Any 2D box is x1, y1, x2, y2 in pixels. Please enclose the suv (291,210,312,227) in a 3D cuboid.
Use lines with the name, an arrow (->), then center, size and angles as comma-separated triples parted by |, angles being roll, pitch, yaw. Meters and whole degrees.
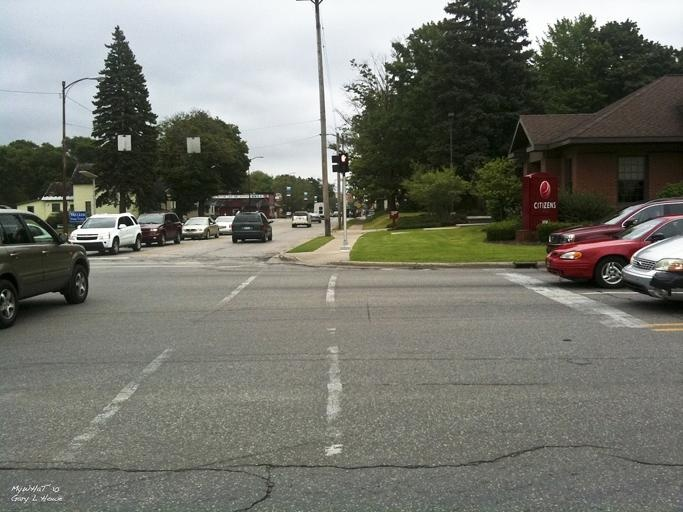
suv -> -3.986, -3.669, 67.998 | 1.178, 1.079, 2.187 | 0, 10, 5
